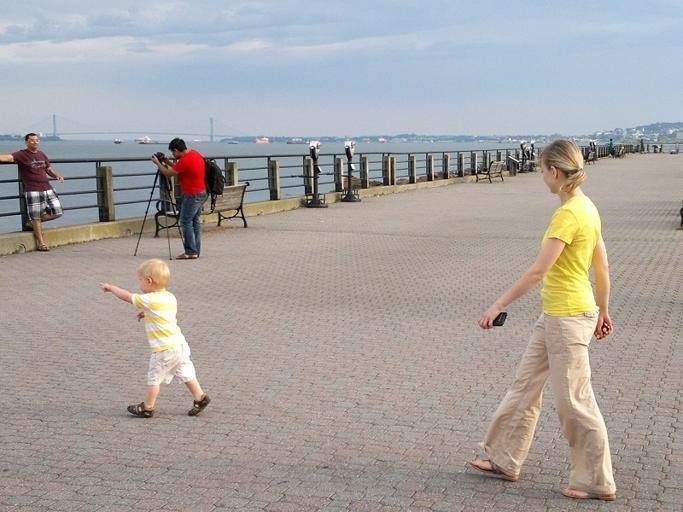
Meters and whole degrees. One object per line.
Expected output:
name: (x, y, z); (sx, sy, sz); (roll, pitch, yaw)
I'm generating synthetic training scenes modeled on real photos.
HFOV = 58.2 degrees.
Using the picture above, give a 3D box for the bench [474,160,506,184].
bench: (8.242, -4.650, 34.096); (1.200, 1.028, 2.750); (4, 7, 27)

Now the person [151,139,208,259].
person: (-2.922, -1.071, 11.392); (0.929, 2.163, 0.859); (-5, 13, -22)

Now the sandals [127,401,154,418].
sandals: (-1.555, 1.192, 4.789); (0.198, 0.080, 0.100); (13, 0, 8)

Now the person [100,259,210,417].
person: (-1.397, 0.643, 4.734); (0.644, 1.217, 0.271); (-4, 13, -16)

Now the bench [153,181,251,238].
bench: (-3.401, -1.133, 15.047); (2.549, 0.906, 0.833); (-2, 4, 39)

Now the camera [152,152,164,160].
camera: (-3.414, -1.862, 11.453); (0.155, 0.104, 0.200); (18, -11, -36)

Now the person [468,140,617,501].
person: (1.285, 0.377, 3.666); (0.816, 2.103, 0.582); (4, 13, 21)

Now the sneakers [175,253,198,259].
sneakers: (-2.857, 0.002, 11.263); (0.326, 0.108, 0.143); (3, 3, 8)

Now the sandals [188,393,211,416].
sandals: (-1.119, 1.175, 4.869); (0.114, 0.234, 0.088); (29, 15, -45)

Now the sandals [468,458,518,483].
sandals: (0.942, 1.340, 3.914); (0.343, 0.114, 0.113); (12, 4, 21)
